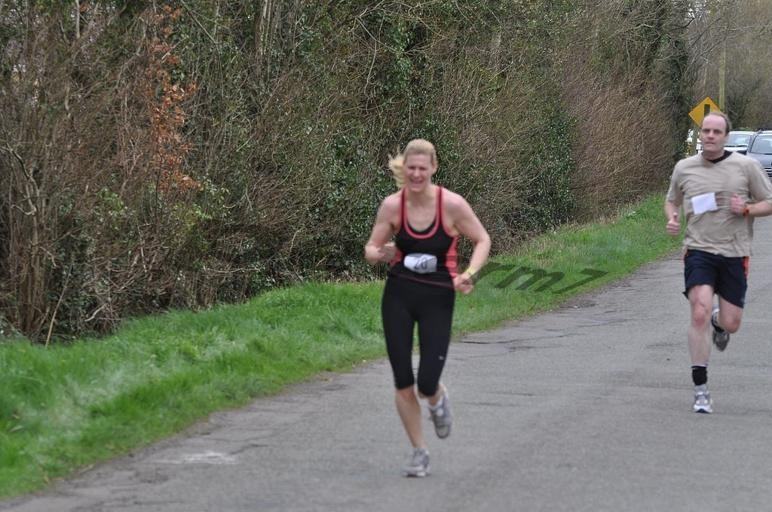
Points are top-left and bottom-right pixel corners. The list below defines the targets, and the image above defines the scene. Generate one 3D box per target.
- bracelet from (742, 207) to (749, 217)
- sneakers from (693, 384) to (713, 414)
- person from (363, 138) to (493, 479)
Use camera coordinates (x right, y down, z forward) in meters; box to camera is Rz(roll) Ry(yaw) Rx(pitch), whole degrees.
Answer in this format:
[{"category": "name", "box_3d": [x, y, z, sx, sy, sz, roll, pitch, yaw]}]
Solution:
[{"category": "bracelet", "box_3d": [3.782, -0.458, 10.695, 0.060, 0.081, 0.038, 3, -20, 18]}, {"category": "sneakers", "box_3d": [3.335, 1.492, 10.722, 0.207, 0.267, 0.356, 4, 9, 17]}, {"category": "person", "box_3d": [0.324, 0.468, 9.108, 1.036, 2.984, 0.492, 0, 9, -2]}]
